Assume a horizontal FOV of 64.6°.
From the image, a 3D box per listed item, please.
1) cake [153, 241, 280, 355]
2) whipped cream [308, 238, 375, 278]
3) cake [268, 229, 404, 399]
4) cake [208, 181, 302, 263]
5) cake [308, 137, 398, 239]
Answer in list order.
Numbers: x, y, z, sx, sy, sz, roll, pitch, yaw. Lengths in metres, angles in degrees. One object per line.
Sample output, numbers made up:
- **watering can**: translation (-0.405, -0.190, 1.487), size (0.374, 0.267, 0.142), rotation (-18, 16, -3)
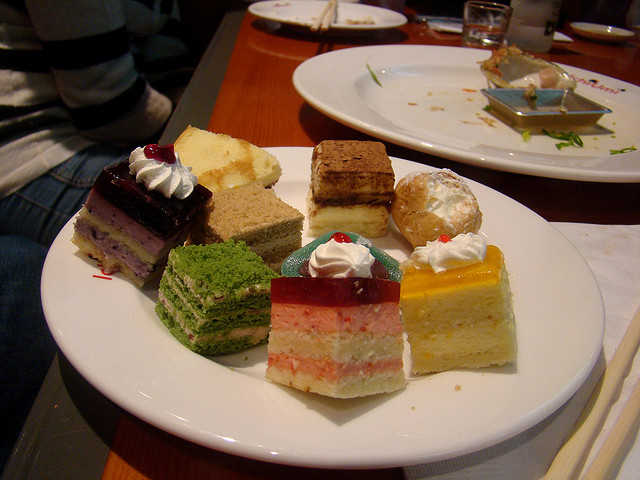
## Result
- **cake**: translation (-0.665, 0.355, 3.051), size (0.621, 0.472, 0.623), rotation (42, 34, 27)
- **whipped cream**: translation (0.133, 0.097, 2.943), size (0.417, 0.157, 0.440), rotation (-1, 13, 27)
- **cake**: translation (0.082, 0.489, 2.649), size (0.730, 0.442, 0.552), rotation (-1, 46, -2)
- **cake**: translation (-0.448, -0.152, 3.290), size (0.514, 0.340, 0.511), rotation (-15, 49, -35)
- **cake**: translation (0.209, -0.414, 3.900), size (0.657, 0.606, 0.691), rotation (3, 33, -4)
